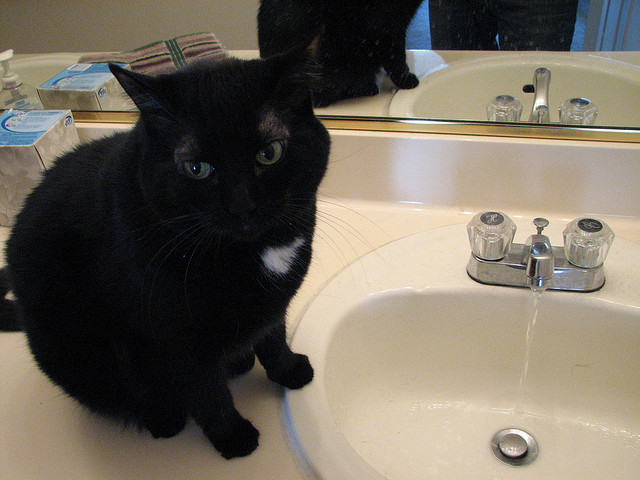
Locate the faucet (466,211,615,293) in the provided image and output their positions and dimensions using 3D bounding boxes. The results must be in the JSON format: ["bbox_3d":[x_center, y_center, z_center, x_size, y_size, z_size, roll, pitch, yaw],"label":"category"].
[{"bbox_3d":[0.359,0.021,0.938,0.224,0.101,0.134,4,27,16],"label":"faucet"}]

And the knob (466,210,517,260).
[{"bbox_3d":[0.280,-0.012,0.922,0.078,0.057,0.077,-4,42,-1],"label":"knob"}]

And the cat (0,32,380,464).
[{"bbox_3d":[-0.123,-0.052,1.024,0.665,0.665,0.417,3,21,21],"label":"cat"}]
